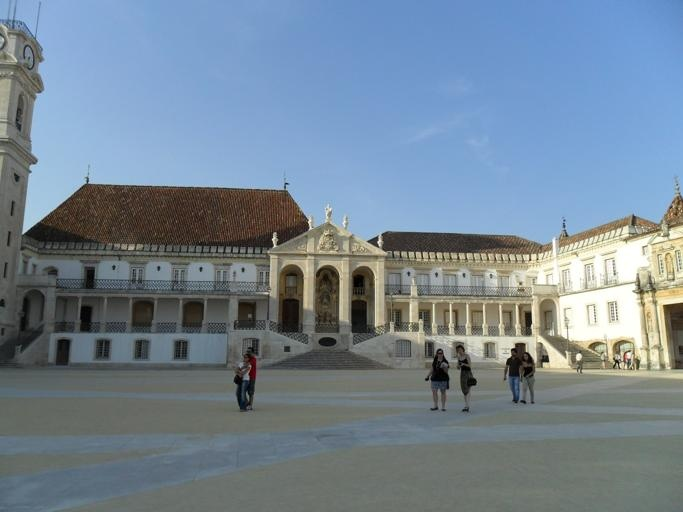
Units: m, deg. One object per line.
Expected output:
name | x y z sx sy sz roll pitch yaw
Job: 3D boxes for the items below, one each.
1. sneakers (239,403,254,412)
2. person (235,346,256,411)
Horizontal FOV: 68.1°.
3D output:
sneakers | -2.655 4.261 14.070 0.133 0.155 0.398 -4 -29 10
person | -2.793 3.528 14.537 0.530 1.693 1.000 2 -11 -11
